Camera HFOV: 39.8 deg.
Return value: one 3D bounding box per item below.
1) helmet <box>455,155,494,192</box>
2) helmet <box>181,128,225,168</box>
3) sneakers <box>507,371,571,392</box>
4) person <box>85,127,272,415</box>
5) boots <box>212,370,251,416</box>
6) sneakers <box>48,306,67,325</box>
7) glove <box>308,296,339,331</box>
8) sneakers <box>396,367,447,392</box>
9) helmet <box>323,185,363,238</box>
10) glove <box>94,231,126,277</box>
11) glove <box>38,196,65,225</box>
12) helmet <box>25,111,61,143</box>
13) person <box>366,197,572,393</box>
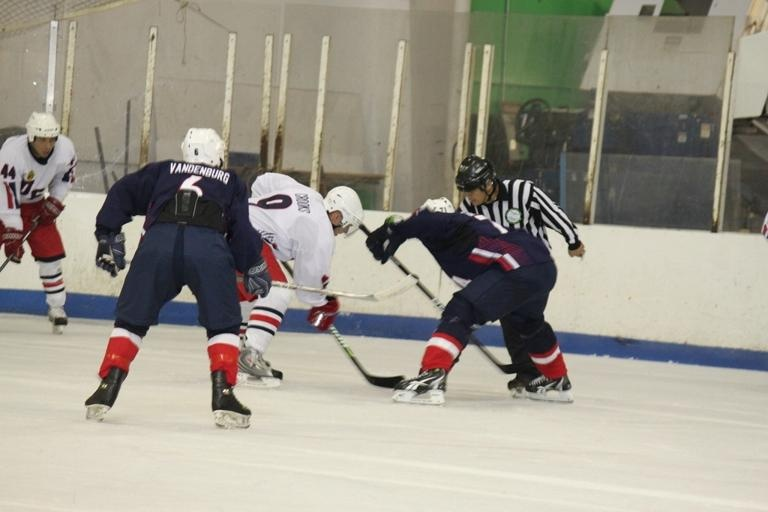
[{"bbox_3d":[0.616,-0.556,7.163,0.246,0.237,0.164,5,11,7],"label":"helmet"},{"bbox_3d":[-1.100,-0.665,6.473,0.204,0.234,0.259,6,17,7],"label":"helmet"},{"bbox_3d":[1.043,0.860,7.190,0.432,0.186,0.148,4,14,10],"label":"sneakers"},{"bbox_3d":[-1.205,0.204,6.265,1.042,1.484,0.567,2,11,-7],"label":"person"},{"bbox_3d":[-0.914,0.832,6.278,0.123,0.290,0.314,-13,-20,28],"label":"boots"},{"bbox_3d":[-2.526,0.465,8.223,0.074,0.100,0.228,-3,-16,-22],"label":"sneakers"},{"bbox_3d":[-0.421,0.399,7.311,0.162,0.263,0.195,31,-14,-8],"label":"glove"},{"bbox_3d":[0.217,0.796,6.767,0.363,0.157,0.124,1,-3,4],"label":"sneakers"},{"bbox_3d":[-0.263,-0.337,7.370,0.302,0.260,0.240,45,-3,-19],"label":"helmet"},{"bbox_3d":[-1.649,-0.020,6.393,0.240,0.244,0.095,-1,11,-9],"label":"glove"},{"bbox_3d":[-2.568,-0.359,8.154,0.161,0.182,0.200,34,-6,-16],"label":"glove"},{"bbox_3d":[-2.550,-0.974,7.948,0.210,0.219,0.234,-3,1,-41],"label":"helmet"},{"bbox_3d":[0.669,0.385,7.264,1.411,1.432,1.024,1,-28,16],"label":"person"}]
